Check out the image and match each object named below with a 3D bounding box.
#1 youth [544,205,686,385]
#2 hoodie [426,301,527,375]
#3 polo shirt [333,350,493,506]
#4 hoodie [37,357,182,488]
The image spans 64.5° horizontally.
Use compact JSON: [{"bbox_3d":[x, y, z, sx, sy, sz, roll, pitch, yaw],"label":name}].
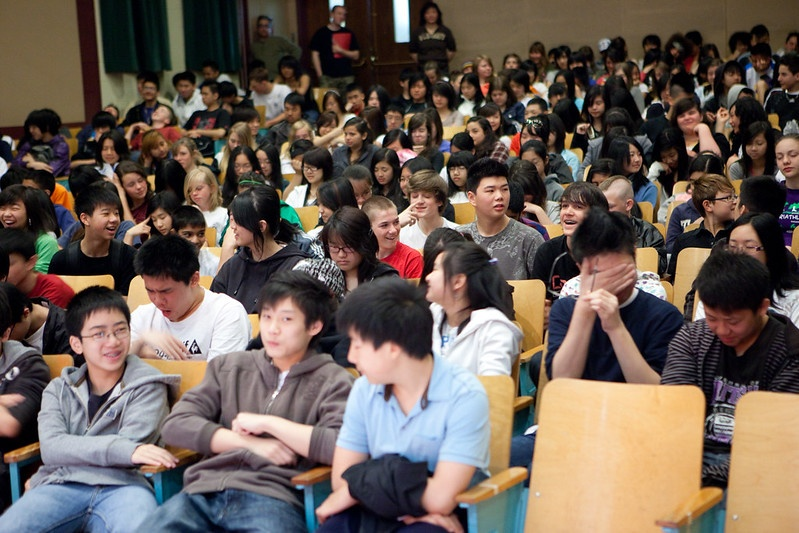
[{"bbox_3d":[0.881,0.181,2.611,0.519,0.755,0.441,2,8,8],"label":"youth"},{"bbox_3d":[0.317,0.320,2.678,0.270,0.163,0.437,5,-1,-21],"label":"hoodie"},{"bbox_3d":[0.084,0.516,2.372,0.656,0.593,0.399,0,-5,24],"label":"polo shirt"},{"bbox_3d":[-1.278,0.674,2.735,0.526,0.517,0.418,5,3,-5],"label":"hoodie"}]
